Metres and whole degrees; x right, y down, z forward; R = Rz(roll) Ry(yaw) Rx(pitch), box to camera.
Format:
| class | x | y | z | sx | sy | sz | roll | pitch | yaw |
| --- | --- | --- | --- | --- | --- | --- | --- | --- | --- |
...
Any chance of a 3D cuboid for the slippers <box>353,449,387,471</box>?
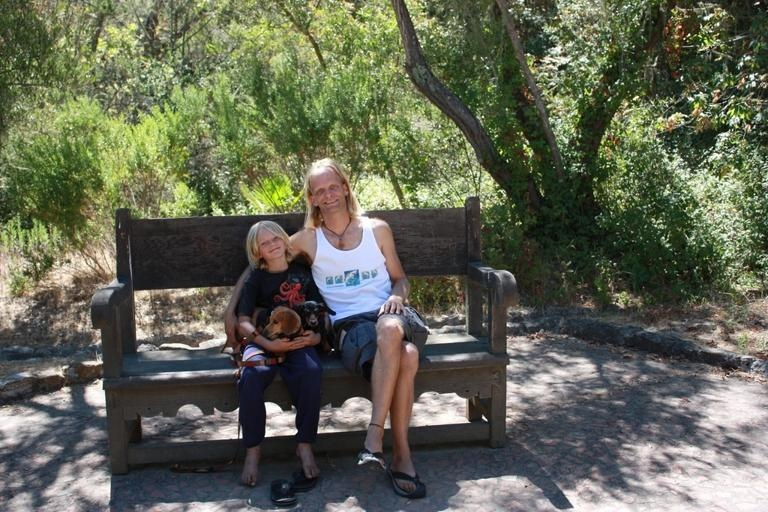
| class | x | y | z | sx | sy | sz | roll | pitch | yaw |
| --- | --- | --- | --- | --- | --- | --- | --- | --- | --- |
| slippers | -0.089 | 1.391 | 4.158 | 0.173 | 0.137 | 0.198 | -6 | 0 | -9 |

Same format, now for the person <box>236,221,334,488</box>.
| class | x | y | z | sx | sy | sz | roll | pitch | yaw |
| --- | --- | --- | --- | --- | --- | --- | --- | --- | --- |
| person | -0.781 | 0.667 | 4.526 | 0.657 | 1.892 | 0.569 | -6 | 1 | -4 |

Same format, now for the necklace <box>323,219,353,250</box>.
| class | x | y | z | sx | sy | sz | roll | pitch | yaw |
| --- | --- | --- | --- | --- | --- | --- | --- | --- | --- |
| necklace | -0.375 | -0.162 | 4.789 | 0.257 | 0.202 | 0.031 | -8 | -8 | -3 |

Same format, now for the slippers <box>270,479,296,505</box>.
| class | x | y | z | sx | sy | sz | roll | pitch | yaw |
| --- | --- | --- | --- | --- | --- | --- | --- | --- | --- |
| slippers | -0.699 | 1.638 | 4.166 | 0.176 | 0.161 | 0.184 | -6 | 1 | -12 |

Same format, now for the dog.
| class | x | y | z | sx | sy | sz | roll | pitch | yaw |
| --- | --- | --- | --- | --- | --- | --- | --- | --- | --- |
| dog | -0.646 | 0.487 | 4.454 | 0.771 | 0.431 | 0.261 | 1 | -7 | -22 |
